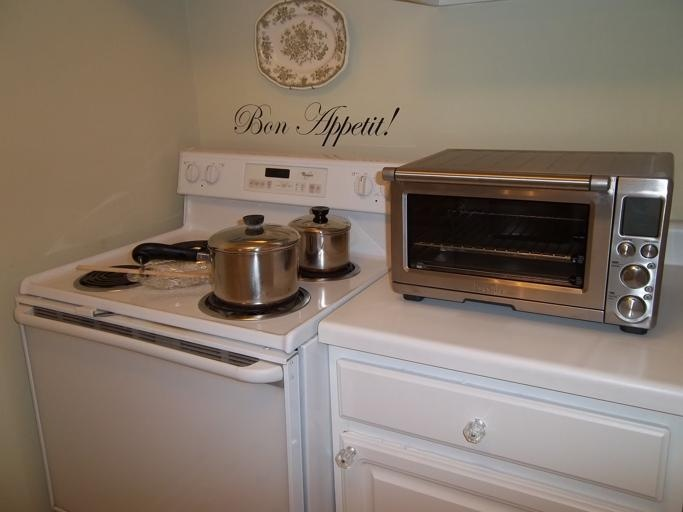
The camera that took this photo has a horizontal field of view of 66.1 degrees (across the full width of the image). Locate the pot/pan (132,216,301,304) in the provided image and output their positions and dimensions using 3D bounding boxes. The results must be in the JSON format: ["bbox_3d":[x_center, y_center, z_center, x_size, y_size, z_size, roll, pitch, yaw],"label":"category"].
[{"bbox_3d":[-0.362,-0.004,1.465,0.466,0.182,0.240,3,9,15],"label":"pot/pan"}]

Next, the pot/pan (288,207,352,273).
[{"bbox_3d":[-0.053,-0.056,1.683,0.212,0.196,0.203,3,12,10],"label":"pot/pan"}]
